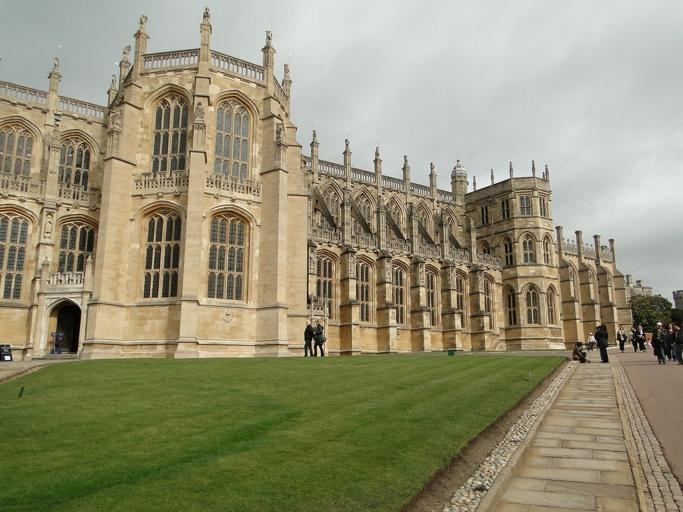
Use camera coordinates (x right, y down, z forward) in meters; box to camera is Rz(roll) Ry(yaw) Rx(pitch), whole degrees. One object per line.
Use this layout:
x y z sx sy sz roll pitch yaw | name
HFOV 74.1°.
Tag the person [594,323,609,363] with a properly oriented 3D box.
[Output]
13.286 4.395 23.298 0.735 1.654 0.728 0 -5 -4 | person
